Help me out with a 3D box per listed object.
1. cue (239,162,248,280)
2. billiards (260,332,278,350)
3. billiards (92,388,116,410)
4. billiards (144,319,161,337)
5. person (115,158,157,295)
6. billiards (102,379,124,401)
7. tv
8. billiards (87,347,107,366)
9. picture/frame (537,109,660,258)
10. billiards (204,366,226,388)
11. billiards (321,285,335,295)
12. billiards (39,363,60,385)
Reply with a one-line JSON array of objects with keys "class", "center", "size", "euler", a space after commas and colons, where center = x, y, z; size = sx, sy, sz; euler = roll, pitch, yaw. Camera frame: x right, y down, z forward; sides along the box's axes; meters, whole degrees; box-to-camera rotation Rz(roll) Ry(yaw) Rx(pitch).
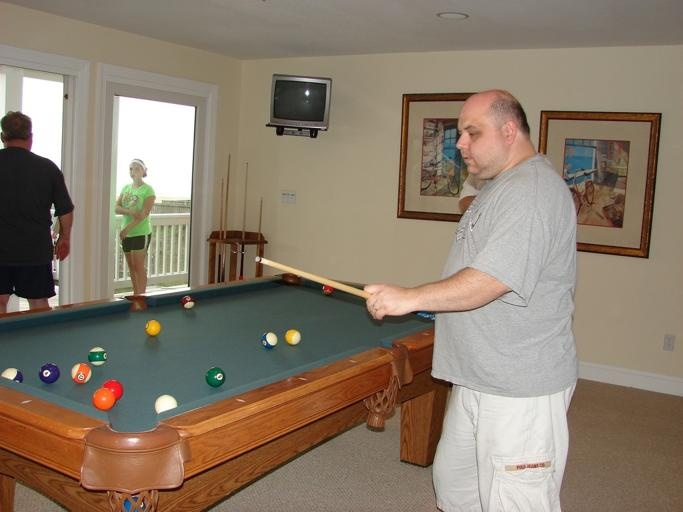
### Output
[{"class": "cue", "center": [-1.056, -0.290, 5.879], "size": [0.044, 1.285, 0.042], "euler": [2, 2, -27]}, {"class": "billiards", "center": [-0.328, 0.391, 2.487], "size": [0.059, 0.067, 0.049], "euler": [-8, -22, 36]}, {"class": "billiards", "center": [-0.779, 0.471, 1.787], "size": [0.068, 0.069, 0.066], "euler": [15, 34, -6]}, {"class": "billiards", "center": [-0.867, 0.329, 2.488], "size": [0.069, 0.082, 0.069], "euler": [1, -12, -28]}, {"class": "person", "center": [-1.974, -0.291, 5.307], "size": [0.199, 1.272, 0.390], "euler": [9, 11, 31]}, {"class": "billiards", "center": [-0.779, 0.460, 1.855], "size": [0.044, 0.052, 0.044], "euler": [-21, 4, 9]}, {"class": "tv", "center": [-0.372, -1.453, 5.331], "size": [0.608, 0.493, 0.307], "euler": [9, 10, 10]}, {"class": "billiards", "center": [-0.966, 0.393, 2.164], "size": [0.077, 0.068, 0.067], "euler": [6, -1, -17]}, {"class": "picture/frame", "center": [1.891, -0.516, 3.847], "size": [0.964, 1.211, 0.049], "euler": [8, 7, 33]}, {"class": "billiards", "center": [-0.474, 0.447, 2.057], "size": [0.068, 0.071, 0.070], "euler": [6, 14, 31]}, {"class": "billiards", "center": [-0.090, 0.217, 3.459], "size": [0.057, 0.042, 0.058], "euler": [5, 9, 24]}, {"class": "billiards", "center": [-1.071, 0.434, 1.999], "size": [0.066, 0.068, 0.034], "euler": [3, -4, -9]}]
